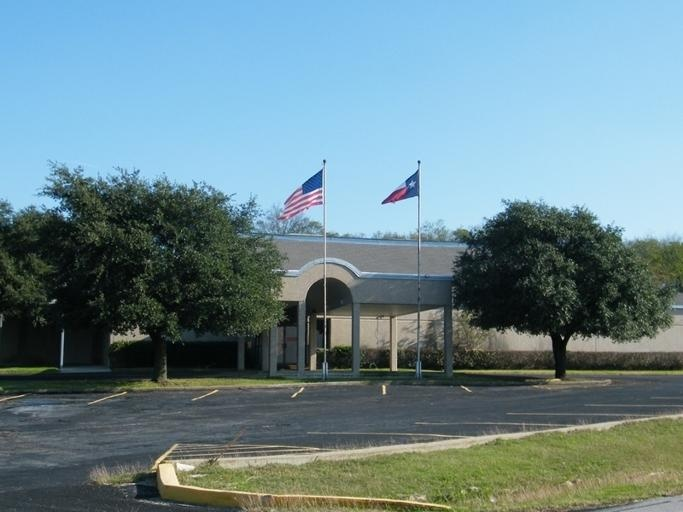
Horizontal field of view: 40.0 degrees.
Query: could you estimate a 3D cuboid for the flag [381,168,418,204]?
[{"bbox_3d":[3.111,-3.528,46.453,1.367,1.978,2.550,0,-7,2],"label":"flag"}]
